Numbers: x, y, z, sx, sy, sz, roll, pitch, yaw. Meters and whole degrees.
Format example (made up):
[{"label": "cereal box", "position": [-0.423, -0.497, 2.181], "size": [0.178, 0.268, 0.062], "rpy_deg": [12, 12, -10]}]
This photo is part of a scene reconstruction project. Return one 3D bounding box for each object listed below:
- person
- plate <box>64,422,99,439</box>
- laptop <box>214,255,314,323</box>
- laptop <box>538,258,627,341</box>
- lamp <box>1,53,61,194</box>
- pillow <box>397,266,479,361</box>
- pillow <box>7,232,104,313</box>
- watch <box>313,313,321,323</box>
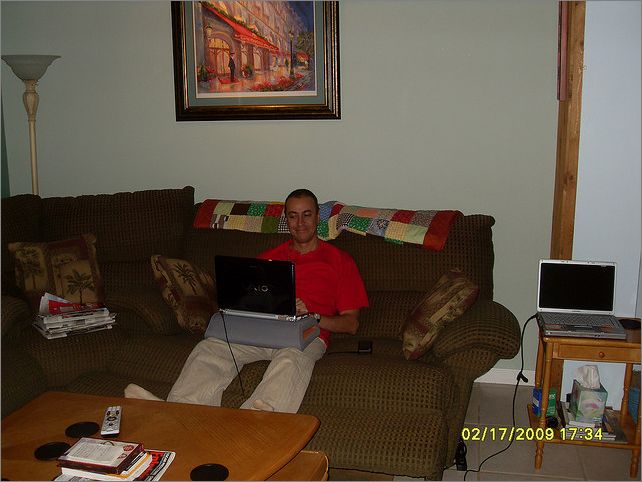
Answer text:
[{"label": "person", "position": [-0.252, 0.295, 2.783], "size": [0.788, 1.111, 1.303], "rpy_deg": [6, 9, 19]}, {"label": "plate", "position": [-0.939, 0.738, 2.063], "size": [0.135, 0.022, 0.104], "rpy_deg": [1, 9, -6]}, {"label": "laptop", "position": [-0.328, 0.127, 2.686], "size": [0.425, 0.318, 0.313], "rpy_deg": [3, 11, 17]}, {"label": "laptop", "position": [1.380, 0.285, 2.845], "size": [0.435, 0.371, 0.383], "rpy_deg": [1, 12, 11]}, {"label": "lamp", "position": [-2.030, -0.824, 3.729], "size": [0.347, 0.987, 0.514], "rpy_deg": [-3, 10, -27]}, {"label": "pillow", "position": [0.620, 0.389, 2.830], "size": [0.368, 0.440, 0.303], "rpy_deg": [1, 9, -3]}, {"label": "pillow", "position": [-1.603, 0.171, 3.205], "size": [0.428, 0.433, 0.131], "rpy_deg": [0, -20, -22]}, {"label": "watch", "position": [-0.016, 0.405, 2.812], "size": [0.044, 0.044, 0.033], "rpy_deg": [28, -13, -34]}]
